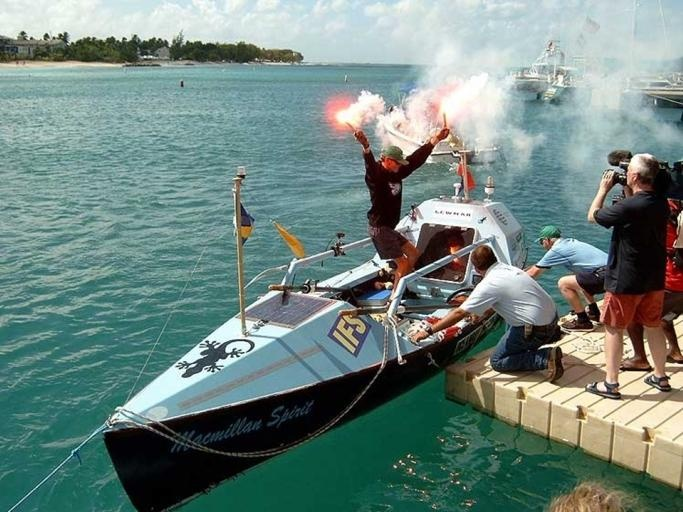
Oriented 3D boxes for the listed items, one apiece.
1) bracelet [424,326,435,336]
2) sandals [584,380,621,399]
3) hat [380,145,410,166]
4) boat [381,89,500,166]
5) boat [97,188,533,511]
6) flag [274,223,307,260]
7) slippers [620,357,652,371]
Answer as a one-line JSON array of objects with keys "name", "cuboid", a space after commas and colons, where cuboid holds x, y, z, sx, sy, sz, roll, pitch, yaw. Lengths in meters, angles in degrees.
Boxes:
[{"name": "bracelet", "cuboid": [1.225, 1.048, 7.516, 0.193, 0.093, 0.151, -3, 2, -12]}, {"name": "sandals", "cuboid": [3.517, 1.827, 7.407, 0.214, 0.141, 0.424, -5, 10, -41]}, {"name": "hat", "cuboid": [0.891, -1.648, 8.818, 0.468, 0.179, 0.290, 3, 21, -19]}, {"name": "boat", "cuboid": [5.423, -8.102, 32.246, 4.275, 3.274, 10.613, -19, 33, -9]}, {"name": "boat", "cuboid": [-0.034, 0.808, 9.238, 8.621, 2.685, 2.990, -21, 24, -37]}, {"name": "flag", "cuboid": [-1.200, -0.306, 12.647, 0.361, 0.195, 1.476, 41, -2, 17]}, {"name": "slippers", "cuboid": [4.214, 1.574, 7.799, 0.402, 0.107, 0.190, 0, 4, 19]}]
